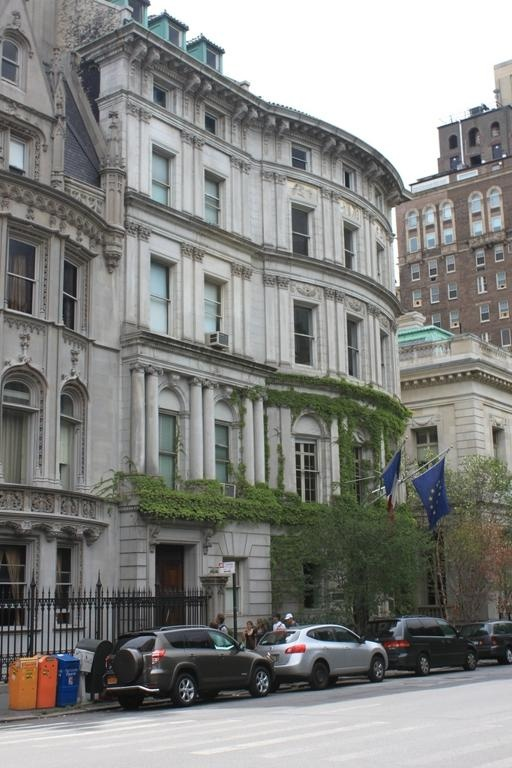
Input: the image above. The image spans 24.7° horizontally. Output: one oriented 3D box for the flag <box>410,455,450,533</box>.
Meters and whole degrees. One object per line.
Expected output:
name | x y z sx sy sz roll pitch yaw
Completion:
flag | 5.923 3.694 38.967 1.022 2.379 1.193 0 -14 -11
